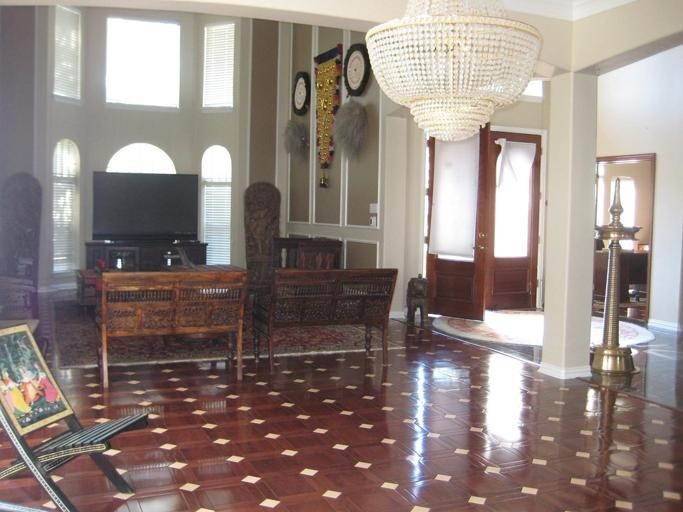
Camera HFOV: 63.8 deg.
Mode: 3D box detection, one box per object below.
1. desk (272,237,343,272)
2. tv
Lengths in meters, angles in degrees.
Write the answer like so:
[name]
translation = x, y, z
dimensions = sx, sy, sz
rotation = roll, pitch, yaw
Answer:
[desk]
translation = -0.600, -0.037, 9.164
dimensions = 0.962, 0.619, 1.752
rotation = -1, 6, -18
[tv]
translation = -3.748, -0.888, 10.276
dimensions = 1.413, 1.007, 0.047
rotation = -2, 6, -24
